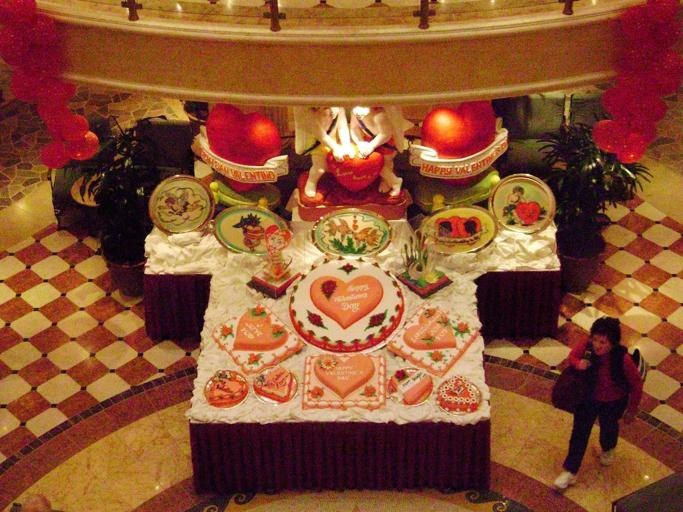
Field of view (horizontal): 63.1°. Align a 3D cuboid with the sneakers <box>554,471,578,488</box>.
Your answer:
[{"bbox_3d":[1.850,1.856,4.652,0.112,0.199,0.134,44,108,35],"label":"sneakers"}]

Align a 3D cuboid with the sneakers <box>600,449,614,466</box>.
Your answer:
[{"bbox_3d":[2.265,1.730,4.766,0.081,0.132,0.137,3,72,17],"label":"sneakers"}]

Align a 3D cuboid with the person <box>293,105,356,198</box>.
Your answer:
[{"bbox_3d":[-0.168,-1.044,5.245,0.554,1.087,0.558,-12,72,-3],"label":"person"}]

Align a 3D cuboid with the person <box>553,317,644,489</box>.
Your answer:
[{"bbox_3d":[1.922,1.105,4.353,0.631,0.584,1.312,-2,107,-2],"label":"person"}]

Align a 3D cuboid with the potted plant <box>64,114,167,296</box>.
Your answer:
[{"bbox_3d":[-2.488,-0.489,6.243,1.051,1.184,1.821,-7,71,-1],"label":"potted plant"}]
